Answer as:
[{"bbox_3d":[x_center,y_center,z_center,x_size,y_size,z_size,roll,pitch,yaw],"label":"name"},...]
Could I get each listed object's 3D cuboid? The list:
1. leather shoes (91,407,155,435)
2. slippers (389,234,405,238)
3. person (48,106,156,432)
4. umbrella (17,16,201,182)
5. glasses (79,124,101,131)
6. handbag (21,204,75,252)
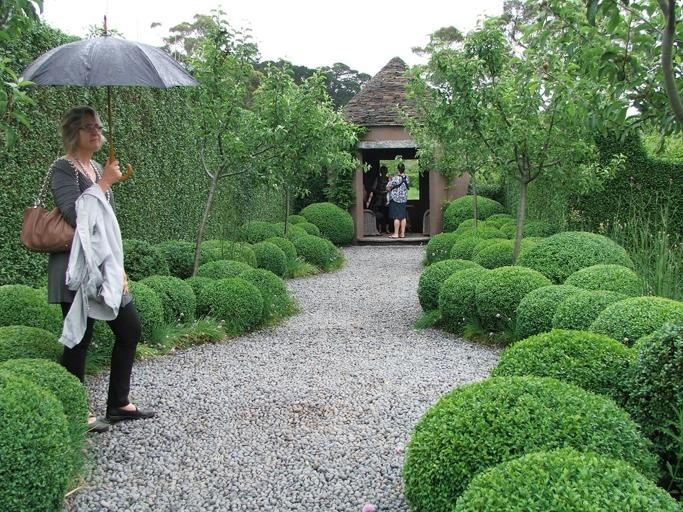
[{"bbox_3d":[-1.584,1.162,3.989,0.128,0.094,0.367,2,4,41],"label":"leather shoes"},{"bbox_3d":[1.596,-0.563,15.938,0.413,0.171,0.149,6,-3,-27],"label":"slippers"},{"bbox_3d":[-1.634,0.138,3.708,0.546,2.237,0.586,0,9,1],"label":"person"},{"bbox_3d":[-1.925,-1.273,4.669,1.211,1.185,1.384,7,18,33],"label":"umbrella"},{"bbox_3d":[-1.628,-0.840,3.643,0.055,0.037,0.148,5,11,25],"label":"glasses"},{"bbox_3d":[-1.829,-0.171,3.496,0.288,0.308,0.100,8,1,14],"label":"handbag"}]
